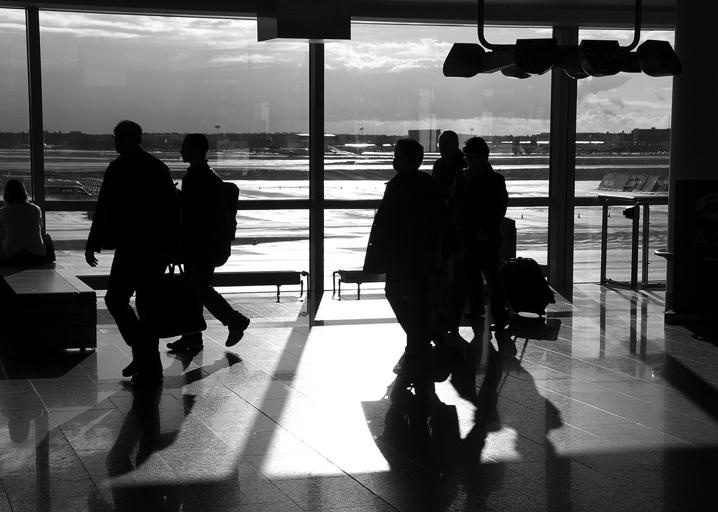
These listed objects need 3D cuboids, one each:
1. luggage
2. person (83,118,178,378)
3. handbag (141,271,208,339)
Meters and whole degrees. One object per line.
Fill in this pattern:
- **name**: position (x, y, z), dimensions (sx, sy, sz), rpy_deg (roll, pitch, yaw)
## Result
- **luggage**: position (2.093, 0.377, 9.657), dimensions (0.597, 0.888, 0.506), rpy_deg (-19, -4, 11)
- **person**: position (-1.981, -0.029, 6.804), dimensions (0.792, 2.274, 0.385), rpy_deg (-2, 9, -15)
- **handbag**: position (-1.793, 0.447, 7.454), dimensions (0.582, 0.701, 0.265), rpy_deg (-17, 14, -15)
